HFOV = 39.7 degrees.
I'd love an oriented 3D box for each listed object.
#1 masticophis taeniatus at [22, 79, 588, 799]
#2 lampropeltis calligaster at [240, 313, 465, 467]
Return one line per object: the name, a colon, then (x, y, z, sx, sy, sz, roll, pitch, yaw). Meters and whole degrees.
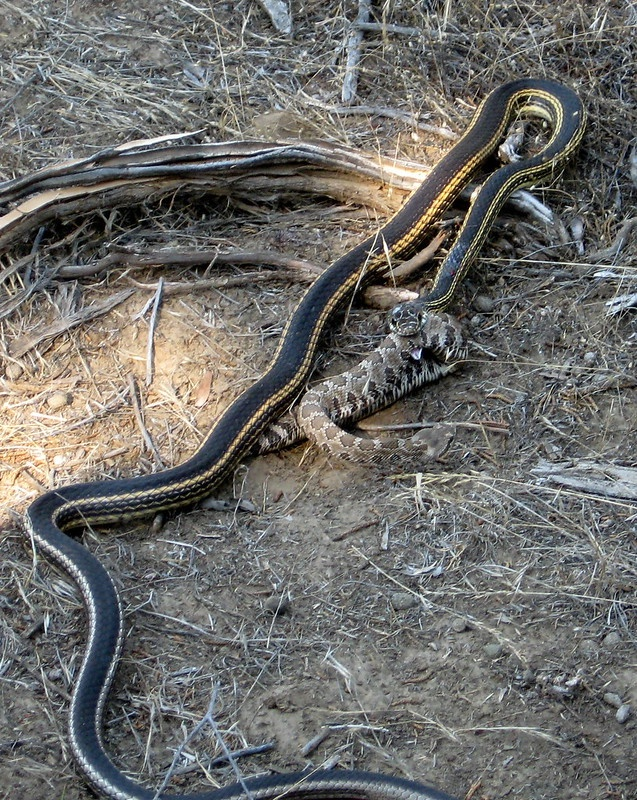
masticophis taeniatus: (-0.060, -0.229, 6.322, 5.384, 0.260, 2.479, -41, 73, -20)
lampropeltis calligaster: (0.317, -0.055, 5.711, 1.351, 0.380, 0.892, -12, 33, 23)
